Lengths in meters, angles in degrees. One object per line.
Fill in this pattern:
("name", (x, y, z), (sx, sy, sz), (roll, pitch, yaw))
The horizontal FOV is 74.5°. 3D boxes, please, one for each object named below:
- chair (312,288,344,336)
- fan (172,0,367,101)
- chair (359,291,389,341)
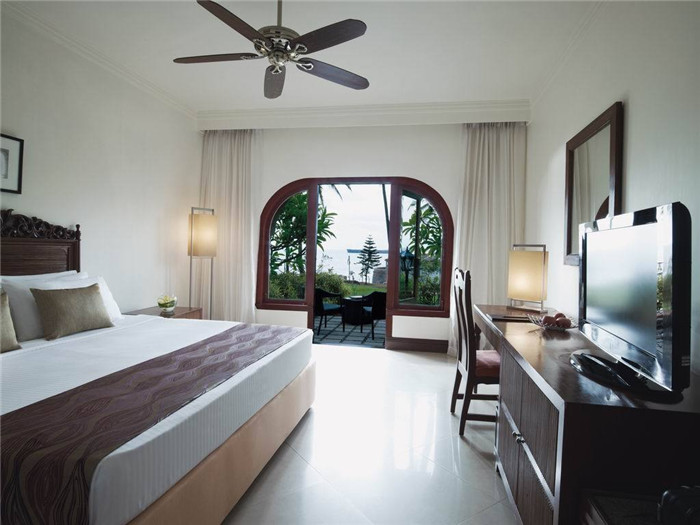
("chair", (-0.295, 0.623, 6.142), (0.357, 0.665, 0.611), (3, 9, -2))
("fan", (-0.439, -1.409, 3.158), (1.141, 0.343, 0.862), (3, 9, -6))
("chair", (0.334, 0.579, 5.886), (0.308, 0.590, 0.357), (0, 0, -10))
